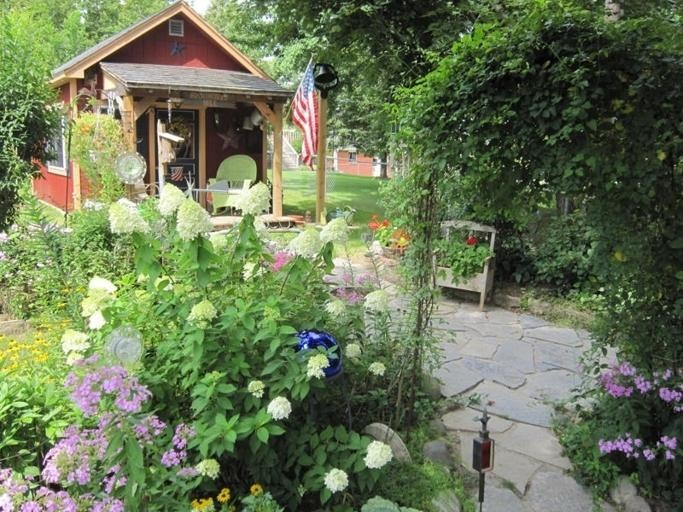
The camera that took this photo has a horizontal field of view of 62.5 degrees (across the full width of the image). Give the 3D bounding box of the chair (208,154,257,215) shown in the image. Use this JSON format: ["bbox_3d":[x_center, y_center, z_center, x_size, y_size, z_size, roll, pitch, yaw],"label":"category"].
[{"bbox_3d":[-2.439,-1.604,12.573,1.037,1.386,2.124,2,7,-13],"label":"chair"}]
